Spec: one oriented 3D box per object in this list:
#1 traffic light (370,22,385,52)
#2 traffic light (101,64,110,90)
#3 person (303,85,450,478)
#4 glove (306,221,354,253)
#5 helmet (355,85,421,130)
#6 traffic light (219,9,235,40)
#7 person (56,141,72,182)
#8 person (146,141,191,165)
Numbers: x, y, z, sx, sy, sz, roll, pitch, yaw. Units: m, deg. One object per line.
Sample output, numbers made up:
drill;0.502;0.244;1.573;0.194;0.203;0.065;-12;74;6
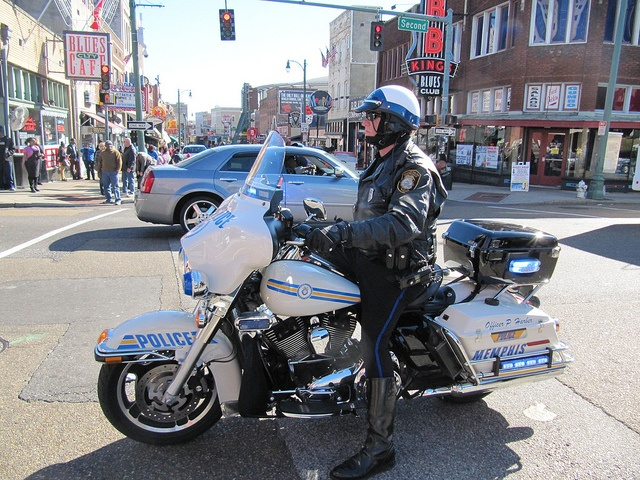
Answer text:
traffic light;2.176;-7.804;19.213;0.439;1.109;0.617;1;14;3
traffic light;-8.384;-6.349;19.751;0.336;0.945;0.793;-6;15;-24
person;0.449;0.275;3.772;0.699;2.790;1.091;7;15;27
glove;0.068;-0.010;3.418;0.246;0.116;0.217;-23;38;-7
helmet;0.528;-1.063;3.981;0.535;0.285;0.382;9;16;3
traffic light;-3.526;-8.237;19.237;0.515;1.130;0.568;0;14;-4
person;-12.079;-3.707;23.822;0.492;1.807;1.260;-6;15;-26
person;-6.009;-3.246;19.692;1.835;1.121;0.916;4;21;-9
